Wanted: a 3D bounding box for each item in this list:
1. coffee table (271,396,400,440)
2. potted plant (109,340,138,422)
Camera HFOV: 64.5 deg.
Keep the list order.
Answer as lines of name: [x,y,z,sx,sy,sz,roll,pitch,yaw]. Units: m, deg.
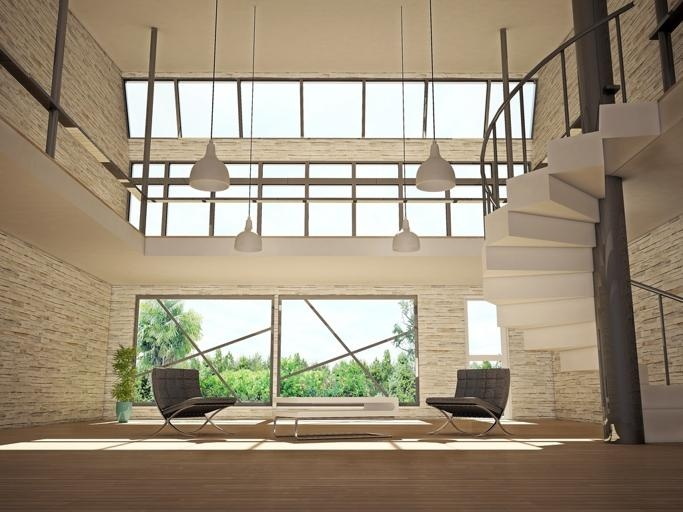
coffee table: [-0.085,2.319,8.112,1.825,0.557,4.379,-3,-15,4]
potted plant: [-3.962,2.282,9.836,0.405,1.350,0.658,5,-18,-22]
